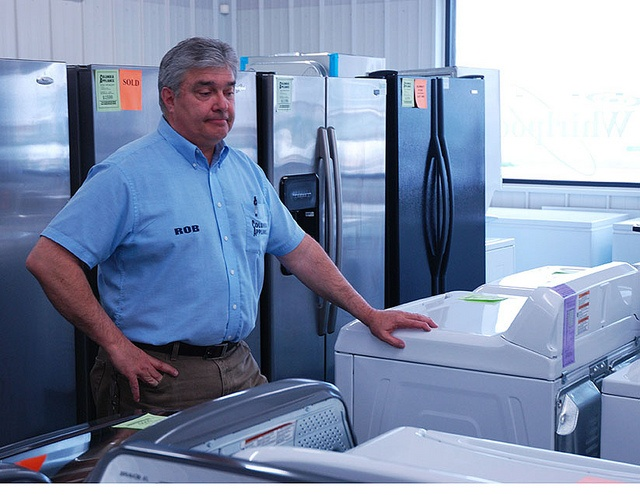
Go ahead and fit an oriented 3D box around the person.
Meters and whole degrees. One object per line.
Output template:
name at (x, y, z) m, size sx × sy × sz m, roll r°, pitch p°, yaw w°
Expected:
person at (-0.371, -0.052, 1.684) m, size 0.999 × 1.165 × 0.395 m, roll -7°, pitch 14°, yaw -17°
